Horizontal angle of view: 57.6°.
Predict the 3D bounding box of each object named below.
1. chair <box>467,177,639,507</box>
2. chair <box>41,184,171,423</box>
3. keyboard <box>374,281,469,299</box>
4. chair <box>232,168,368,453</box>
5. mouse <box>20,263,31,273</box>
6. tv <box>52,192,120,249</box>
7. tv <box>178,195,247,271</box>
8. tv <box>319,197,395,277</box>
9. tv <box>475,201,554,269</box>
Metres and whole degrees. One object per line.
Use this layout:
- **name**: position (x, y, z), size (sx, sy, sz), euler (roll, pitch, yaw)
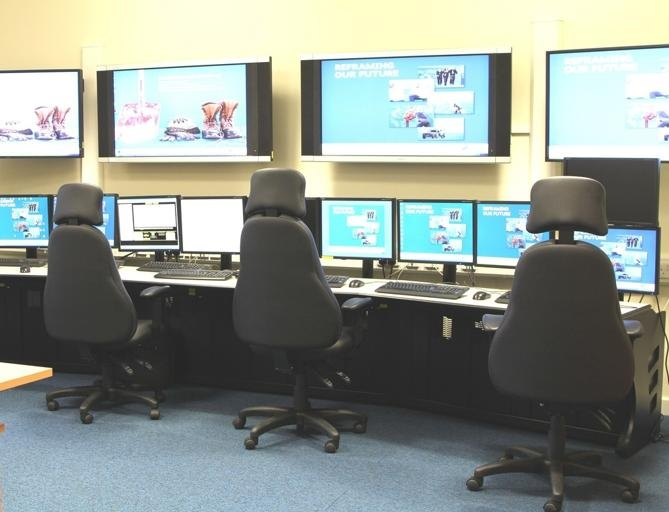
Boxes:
- **chair**: position (0.998, 0.401, 2.727), size (0.740, 1.500, 0.358), euler (2, 9, 13)
- **chair**: position (-1.383, 0.272, 3.762), size (0.696, 1.440, 0.618), euler (4, 9, 22)
- **keyboard**: position (0.520, 0.199, 3.676), size (0.518, 0.047, 0.325), euler (4, 9, 22)
- **chair**: position (-0.192, 0.292, 3.335), size (0.725, 1.522, 0.475), euler (-1, 9, -10)
- **mouse**: position (-2.246, 0.086, 4.397), size (0.088, 0.067, 0.064), euler (2, 5, 1)
- **tv**: position (-1.493, -0.211, 3.639), size (0.436, 0.466, 0.033), euler (1, 2, 7)
- **tv**: position (-0.852, -0.180, 4.229), size (0.543, 0.612, 0.233), euler (1, 1, 10)
- **tv**: position (0.155, -0.150, 4.082), size (0.567, 0.806, 0.261), euler (0, 0, 14)
- **tv**: position (0.987, -0.126, 3.316), size (0.403, 0.387, 0.029), euler (2, 4, 24)
